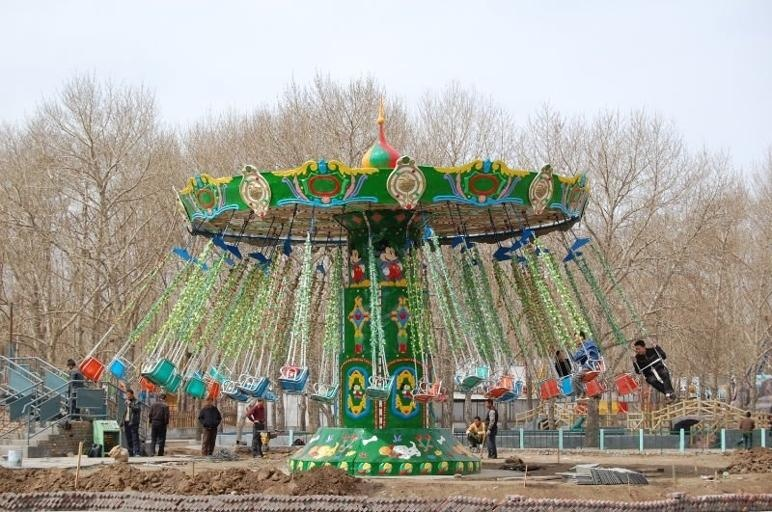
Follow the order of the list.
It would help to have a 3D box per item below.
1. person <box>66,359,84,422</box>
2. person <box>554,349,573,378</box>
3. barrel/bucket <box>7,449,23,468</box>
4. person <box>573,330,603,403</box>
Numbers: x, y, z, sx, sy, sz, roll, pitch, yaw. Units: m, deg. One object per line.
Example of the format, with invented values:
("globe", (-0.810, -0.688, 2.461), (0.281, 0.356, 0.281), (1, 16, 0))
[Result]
("person", (-10.615, 4.517, 41.780), (0.510, 2.112, 0.908), (2, -19, -13))
("person", (5.173, 3.077, 36.037), (0.251, 0.848, 0.703), (1, -20, -13))
("barrel/bucket", (-10.967, 5.903, 35.797), (0.483, 0.588, 0.499), (-1, -7, 0))
("person", (5.684, 2.902, 35.034), (0.708, 1.922, 1.171), (-11, -8, 37))
